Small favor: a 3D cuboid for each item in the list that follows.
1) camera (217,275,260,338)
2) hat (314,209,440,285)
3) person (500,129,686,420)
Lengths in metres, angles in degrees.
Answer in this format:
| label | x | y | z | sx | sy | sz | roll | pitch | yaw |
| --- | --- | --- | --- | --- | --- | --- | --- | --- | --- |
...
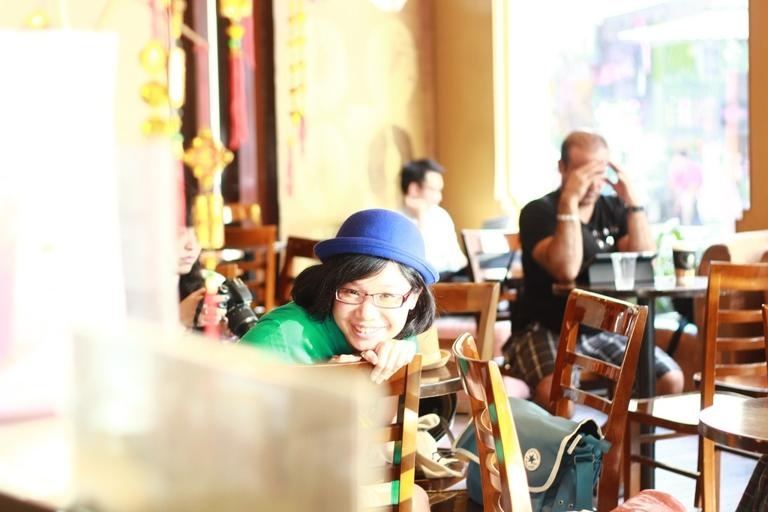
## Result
| label | x | y | z | sx | sy | sz | roll | pitch | yaw |
| --- | --- | --- | --- | --- | --- | --- | --- | --- | --- |
| camera | -0.218 | 0.078 | 1.077 | 0.047 | 0.080 | 0.076 | -14 | -21 | 2 |
| hat | -0.008 | -0.012 | 0.998 | 0.188 | 0.113 | 0.159 | 0 | 2 | -6 |
| person | 0.779 | -0.035 | 2.750 | 0.606 | 1.292 | 0.483 | -3 | 7 | -23 |
